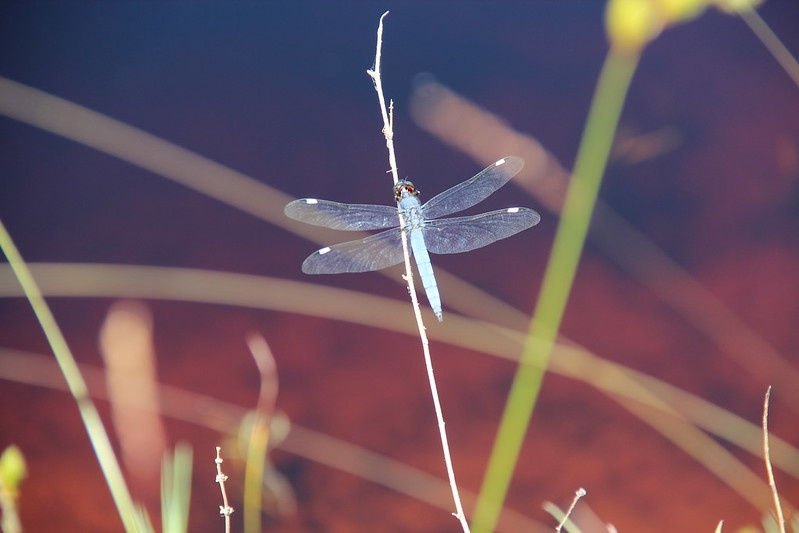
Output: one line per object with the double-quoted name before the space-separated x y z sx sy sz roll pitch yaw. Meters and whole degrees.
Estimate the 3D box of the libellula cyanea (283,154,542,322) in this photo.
"libellula cyanea" 0.038 -0.030 1.434 0.398 0.077 0.243 -14 -67 6
